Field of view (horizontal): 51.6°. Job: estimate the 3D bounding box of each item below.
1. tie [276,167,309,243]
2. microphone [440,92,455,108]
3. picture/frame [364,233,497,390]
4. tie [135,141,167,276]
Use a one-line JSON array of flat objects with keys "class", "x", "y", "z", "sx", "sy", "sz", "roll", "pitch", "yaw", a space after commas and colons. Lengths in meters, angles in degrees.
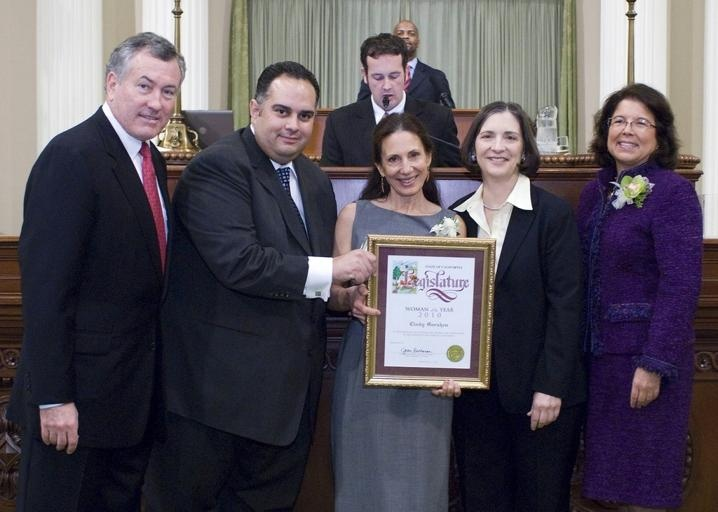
[{"class": "tie", "x": -0.338, "y": -0.348, "z": 3.644, "sx": 0.077, "sy": 0.569, "sz": 0.066, "roll": -18, "pitch": -22, "yaw": 5}, {"class": "microphone", "x": 0.705, "y": -1.274, "z": 6.001, "sx": 0.094, "sy": 0.115, "sz": 0.369, "roll": -28, "pitch": 10, "yaw": 14}, {"class": "picture/frame", "x": 0.324, "y": 0.264, "z": 3.535, "sx": 0.619, "sy": 0.795, "sz": 0.069, "roll": 3, "pitch": 2, "yaw": 1}, {"class": "tie", "x": -0.967, "y": -0.258, "z": 3.494, "sx": 0.092, "sy": 0.715, "sz": 0.061, "roll": -12, "pitch": -18, "yaw": -6}]
